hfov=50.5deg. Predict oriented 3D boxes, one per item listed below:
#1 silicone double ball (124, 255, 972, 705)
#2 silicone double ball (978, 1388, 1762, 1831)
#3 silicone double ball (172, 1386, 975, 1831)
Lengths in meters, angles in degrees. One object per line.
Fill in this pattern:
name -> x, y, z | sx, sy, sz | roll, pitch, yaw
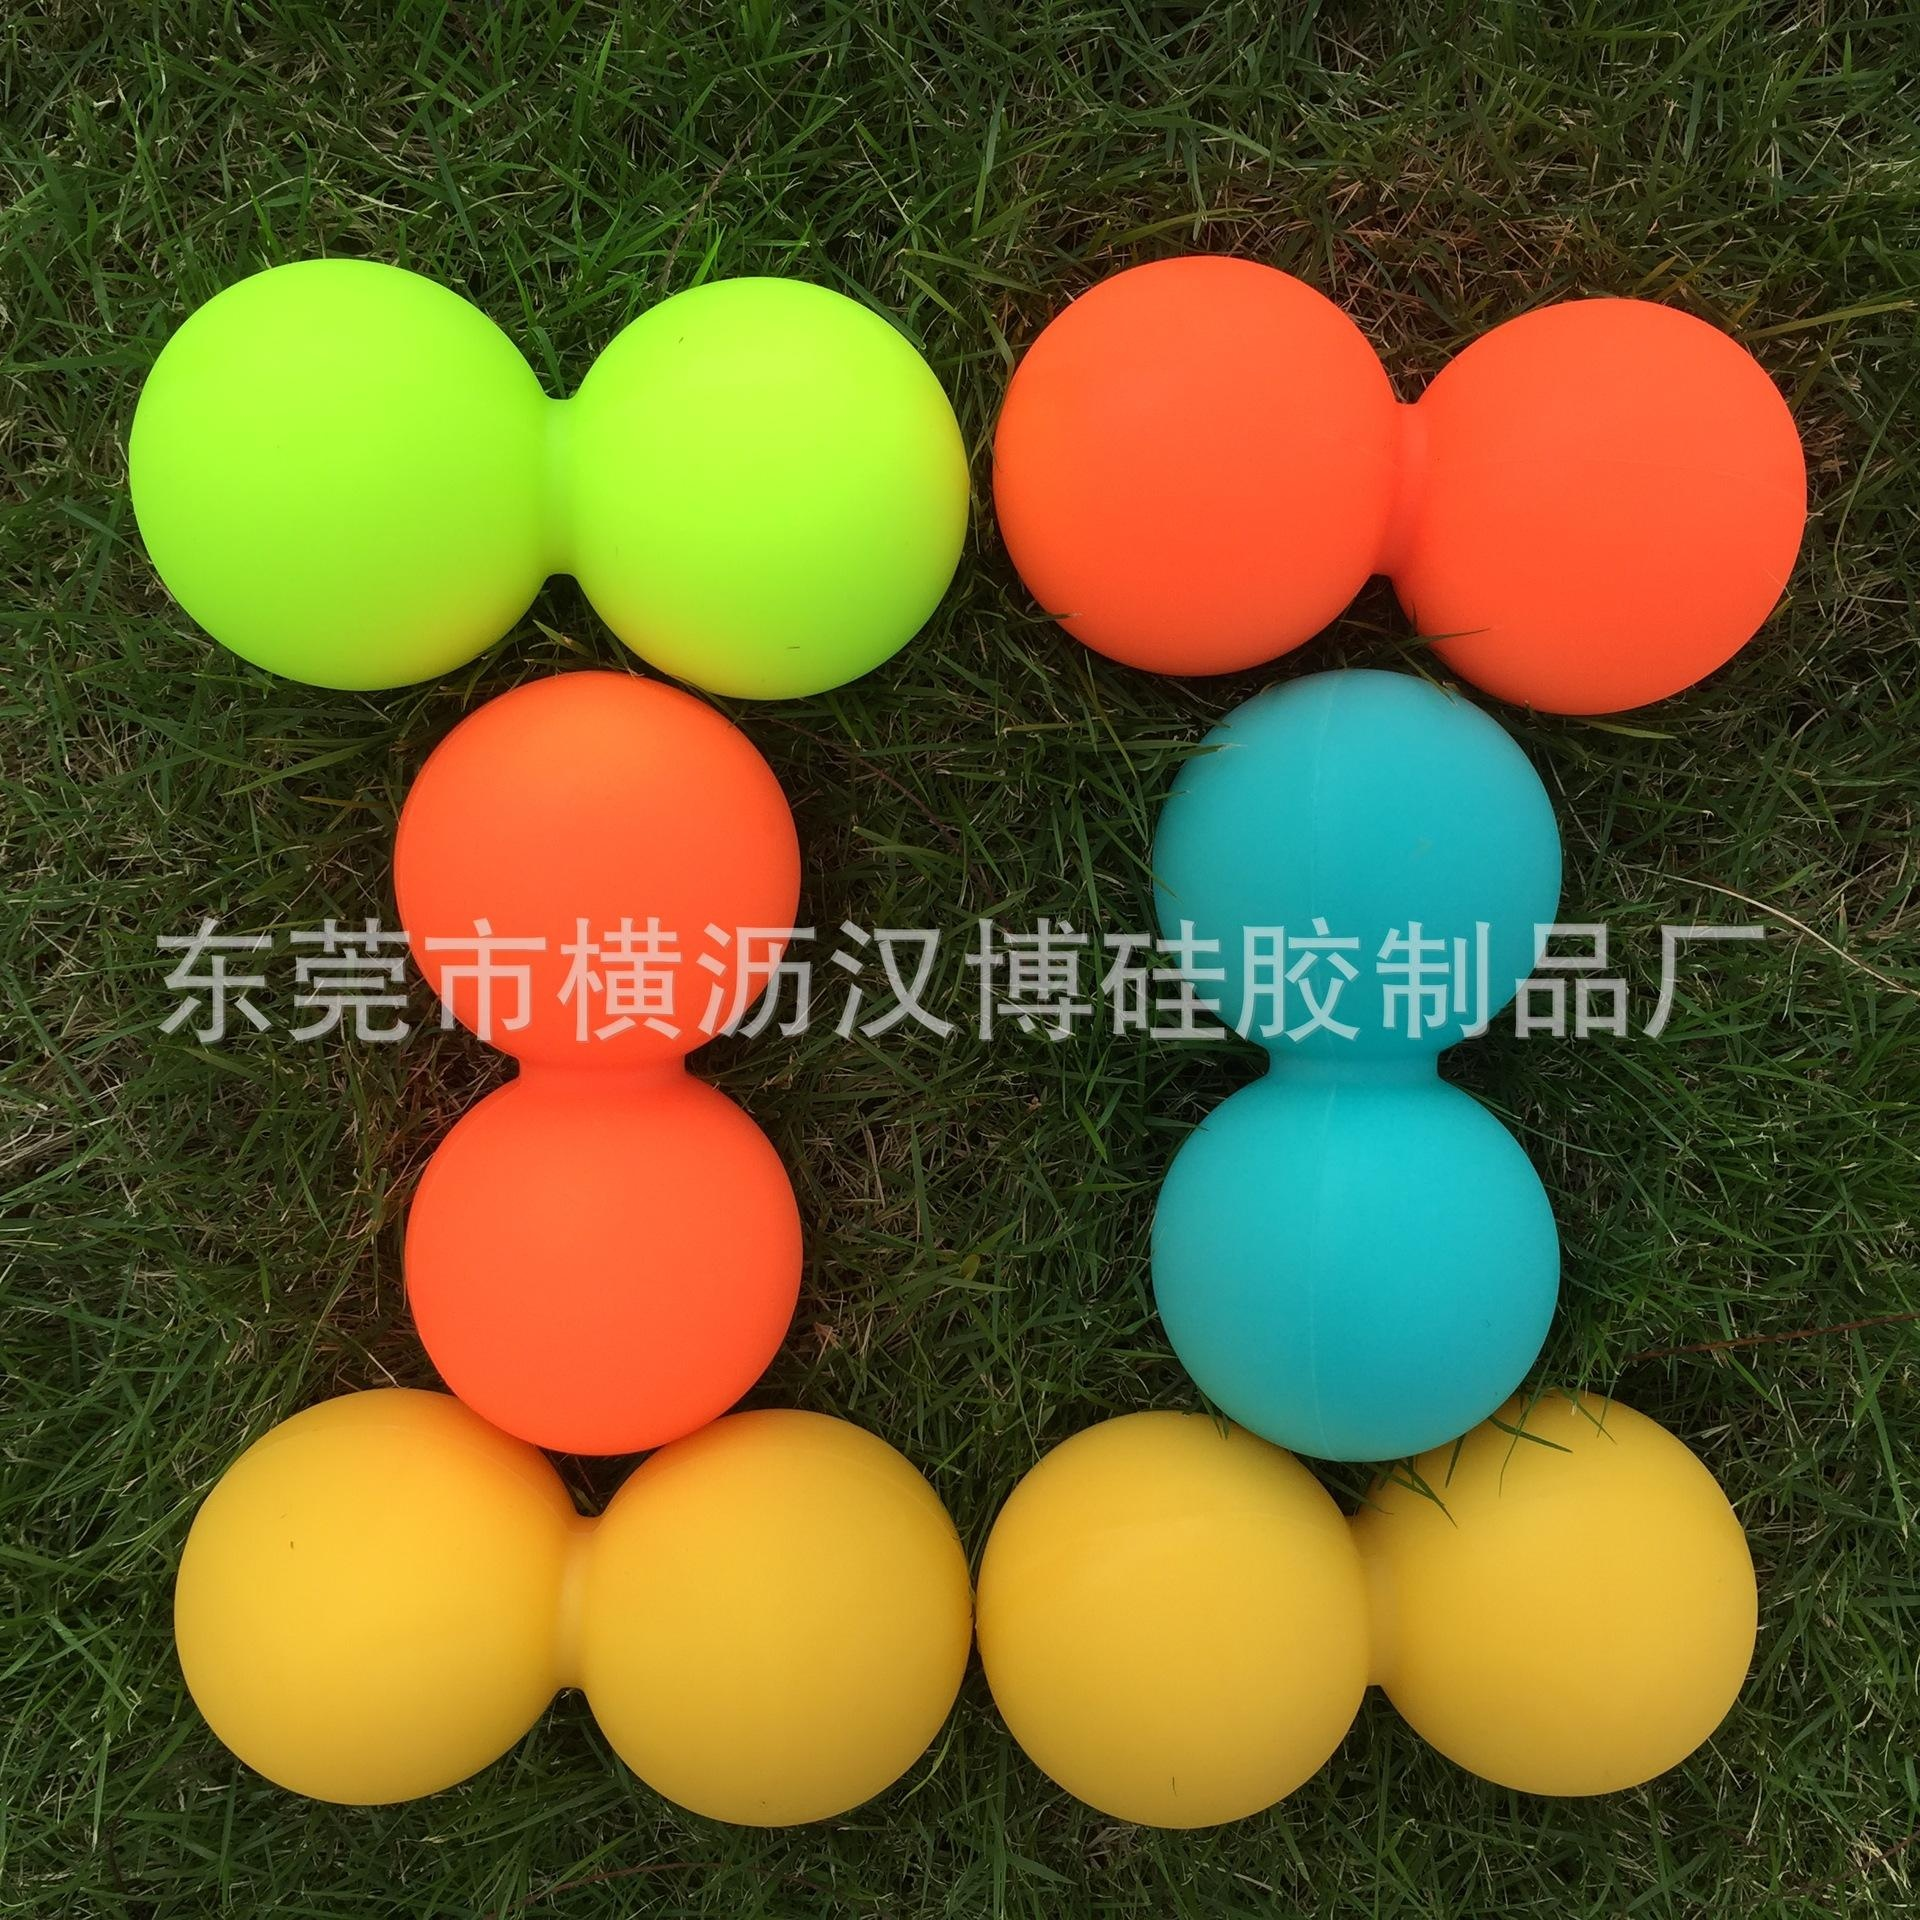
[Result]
silicone double ball -> -0.270, -0.350, 1.569 | 0.668, 0.263, 0.238 | 1, 85, -8
silicone double ball -> 0.406, 0.566, 1.674 | 0.247, 0.430, 0.171 | -16, 94, -25
silicone double ball -> -0.303, 0.504, 1.612 | 0.690, 0.255, 0.270 | 5, 50, -2
